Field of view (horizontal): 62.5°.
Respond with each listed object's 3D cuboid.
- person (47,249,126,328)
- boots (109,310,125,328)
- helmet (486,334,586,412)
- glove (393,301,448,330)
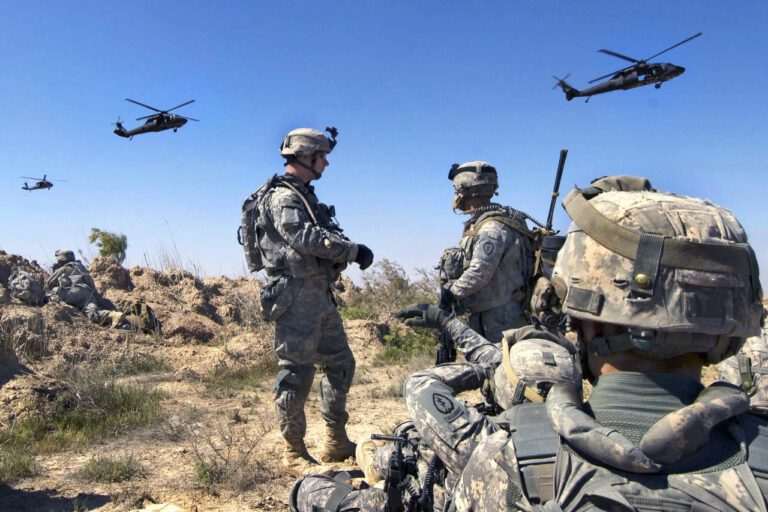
[{"bbox_3d":[-6.346,0.564,13.144,2.320,1.447,1.031,7,7,42],"label":"person"},{"bbox_3d":[-5.364,1.250,12.615,0.248,0.295,0.316,12,0,-41],"label":"boots"},{"bbox_3d":[0.944,0.691,4.049,0.497,0.468,0.387,-12,13,-23],"label":"helmet"},{"bbox_3d":[0.315,0.477,5.250,0.171,0.220,0.604,2,2,-41],"label":"glove"}]
